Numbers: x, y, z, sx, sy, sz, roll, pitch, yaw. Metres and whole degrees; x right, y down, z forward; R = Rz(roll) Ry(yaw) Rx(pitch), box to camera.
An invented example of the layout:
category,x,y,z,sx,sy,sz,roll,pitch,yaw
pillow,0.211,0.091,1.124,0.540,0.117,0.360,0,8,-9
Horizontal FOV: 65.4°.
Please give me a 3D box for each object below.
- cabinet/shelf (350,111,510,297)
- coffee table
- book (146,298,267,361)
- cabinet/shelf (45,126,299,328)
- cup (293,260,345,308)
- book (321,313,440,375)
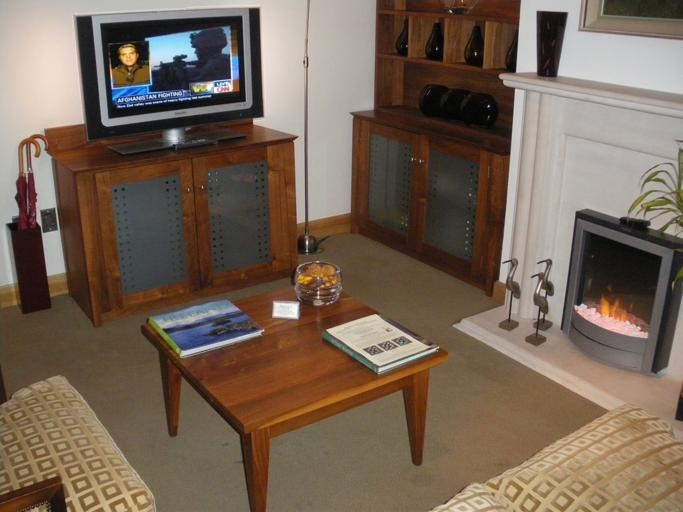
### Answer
category,x,y,z,sx,sy,sz,roll,pitch,yaw
cabinet/shelf,0.727,-0.517,4.158,0.488,1.064,1.418,-19,30,-37
coffee table,-0.140,0.298,2.098,0.921,0.531,0.917,-16,28,-37
book,-0.591,0.305,2.355,0.384,0.051,0.393,-16,24,-39
cabinet/shelf,-1.091,-0.306,3.643,1.509,1.154,0.566,-15,25,-36
cup,-0.116,0.136,2.589,0.228,0.167,0.230,0,15,0
book,0.150,0.376,2.261,0.301,0.045,0.318,-16,29,-37
